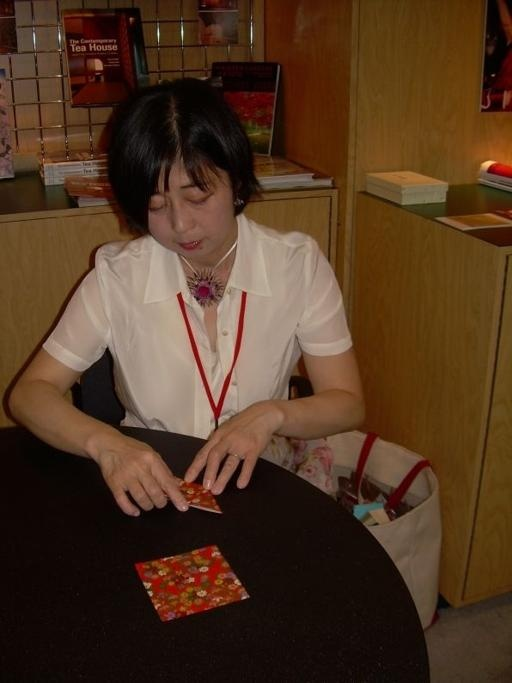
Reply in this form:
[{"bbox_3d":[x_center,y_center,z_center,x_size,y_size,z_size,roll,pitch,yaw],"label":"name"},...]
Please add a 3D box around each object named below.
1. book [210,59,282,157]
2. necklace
[{"bbox_3d":[-0.047,-0.911,1.966,0.233,0.341,0.033,-4,54,-10],"label":"book"},{"bbox_3d":[-0.102,-0.138,1.098,0.072,0.156,0.072,0,8,-5],"label":"necklace"}]
